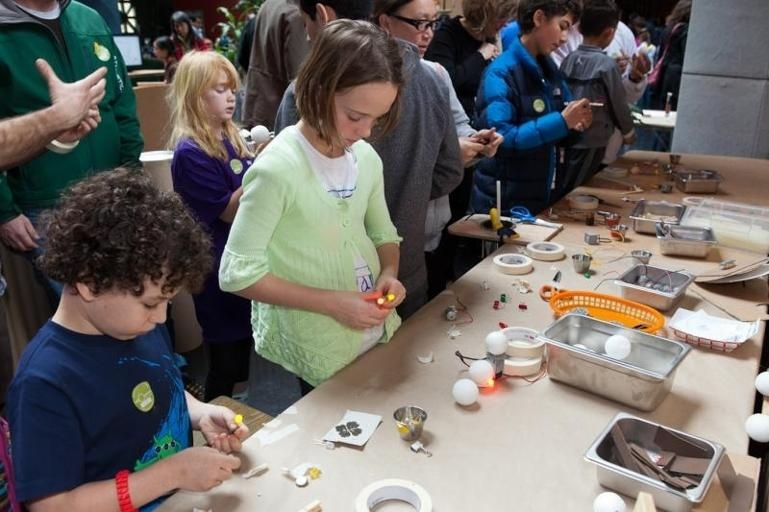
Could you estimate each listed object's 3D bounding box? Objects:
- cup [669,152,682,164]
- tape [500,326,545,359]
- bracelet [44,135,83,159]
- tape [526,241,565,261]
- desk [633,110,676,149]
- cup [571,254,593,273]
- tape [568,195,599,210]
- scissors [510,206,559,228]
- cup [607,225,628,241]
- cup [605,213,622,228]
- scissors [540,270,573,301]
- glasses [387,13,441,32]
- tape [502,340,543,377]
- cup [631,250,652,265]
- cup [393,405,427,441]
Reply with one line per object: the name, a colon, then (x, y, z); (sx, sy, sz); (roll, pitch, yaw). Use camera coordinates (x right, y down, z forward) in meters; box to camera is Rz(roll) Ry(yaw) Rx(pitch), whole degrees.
cup: (2.291, -0.757, 4.377); (0.085, 0.105, 0.098); (15, 24, 40)
tape: (0.565, 0.366, 2.249); (0.157, 0.041, 0.169); (2, 10, 27)
bracelet: (-1.565, -0.528, 2.717); (0.116, 0.057, 0.135); (8, 21, 40)
tape: (0.858, -0.028, 2.946); (0.208, 0.048, 0.168); (2, 30, 7)
desk: (3.078, -1.437, 6.306); (0.502, 0.192, 0.803); (17, 36, 31)
cup: (0.976, 0.040, 2.763); (0.087, 0.066, 0.086); (1, 24, 0)
tape: (1.268, -0.345, 3.537); (0.115, 0.032, 0.126); (-1, 24, 7)
scissors: (0.882, -0.220, 3.334); (0.114, 0.102, 0.315); (16, 5, -33)
cup: (1.321, -0.135, 3.153); (0.089, 0.069, 0.092); (-4, 25, 2)
cup: (1.342, -0.210, 3.256); (0.081, 0.070, 0.085); (-4, 16, 1)
scissors: (0.799, 0.156, 2.618); (0.117, 0.030, 0.119); (-30, 25, -5)
glasses: (0.159, -1.076, 2.568); (0.251, 0.078, 0.096); (-18, 33, -25)
tape: (0.545, 0.399, 2.174); (0.174, 0.082, 0.129); (-1, 30, 1)
cup: (1.317, 0.004, 2.852); (0.088, 0.064, 0.091); (1, 24, -1)
cup: (0.091, 0.569, 1.908); (0.120, 0.077, 0.109); (-2, 30, 1)
